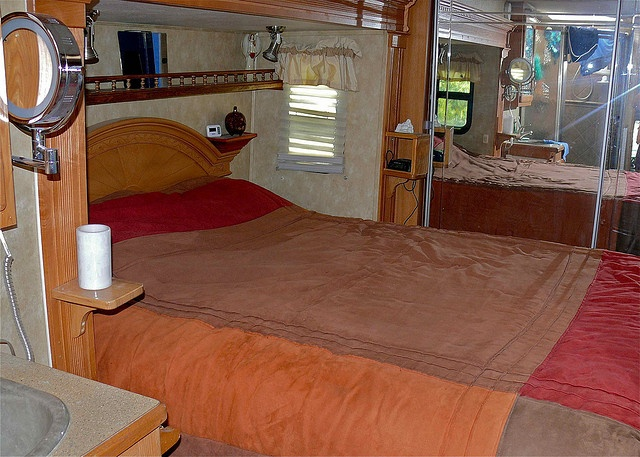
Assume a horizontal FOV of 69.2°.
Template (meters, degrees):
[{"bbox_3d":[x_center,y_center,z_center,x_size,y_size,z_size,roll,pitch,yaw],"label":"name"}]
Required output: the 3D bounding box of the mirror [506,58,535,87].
[{"bbox_3d":[1.881,-1.454,4.337,0.224,0.234,0.077,-10,2,37],"label":"mirror"}]

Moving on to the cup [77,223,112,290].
[{"bbox_3d":[-0.822,0.112,1.719,0.109,0.250,0.089,15,17,35],"label":"cup"}]

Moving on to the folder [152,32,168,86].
[{"bbox_3d":[-1.232,-1.337,3.539,0.030,0.288,0.159,12,23,15],"label":"folder"}]

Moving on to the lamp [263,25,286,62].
[{"bbox_3d":[-0.430,-1.660,4.226,0.198,0.281,0.408,-2,14,-7],"label":"lamp"}]
